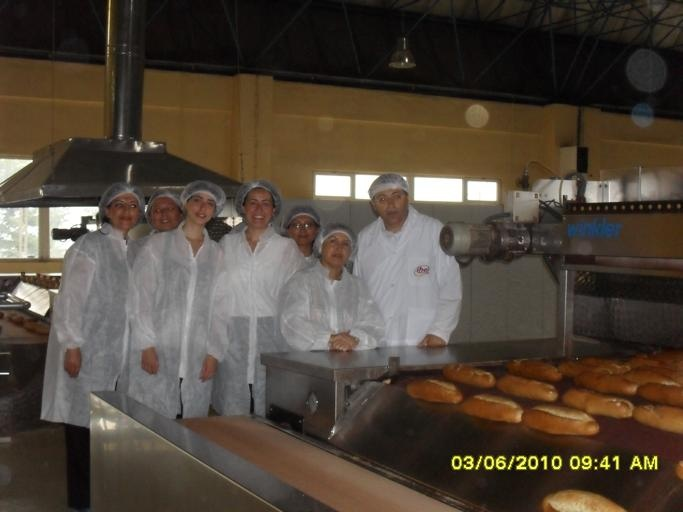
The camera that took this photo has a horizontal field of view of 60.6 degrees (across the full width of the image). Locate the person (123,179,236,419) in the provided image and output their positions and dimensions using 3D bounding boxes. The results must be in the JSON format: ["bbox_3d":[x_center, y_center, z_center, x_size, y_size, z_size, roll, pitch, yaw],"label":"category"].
[{"bbox_3d":[-0.819,0.215,2.920,0.449,1.189,0.225,1,2,-22],"label":"person"}]

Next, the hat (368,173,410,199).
[{"bbox_3d":[0.234,-0.351,2.941,0.211,0.132,0.163,1,2,-13],"label":"hat"}]

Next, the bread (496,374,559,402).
[{"bbox_3d":[0.532,0.376,1.683,0.129,0.038,0.065,5,5,36],"label":"bread"}]

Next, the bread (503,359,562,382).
[{"bbox_3d":[0.610,0.349,1.840,0.116,0.034,0.066,7,-2,0],"label":"bread"}]

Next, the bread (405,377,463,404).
[{"bbox_3d":[0.267,0.374,1.679,0.117,0.030,0.064,4,9,43],"label":"bread"}]

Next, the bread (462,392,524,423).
[{"bbox_3d":[0.404,0.402,1.558,0.099,0.032,0.067,-1,-1,44],"label":"bread"}]

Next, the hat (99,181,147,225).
[{"bbox_3d":[-1.228,-0.300,3.239,0.194,0.098,0.240,1,-42,-16],"label":"hat"}]

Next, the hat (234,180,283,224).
[{"bbox_3d":[-0.438,-0.282,3.184,0.116,0.308,0.335,-15,18,-35],"label":"hat"}]

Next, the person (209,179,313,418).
[{"bbox_3d":[-0.445,0.270,3.020,0.509,1.221,0.425,1,16,-15],"label":"person"}]

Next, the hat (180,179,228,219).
[{"bbox_3d":[-0.739,-0.312,3.074,0.252,0.099,0.264,9,-12,-41],"label":"hat"}]

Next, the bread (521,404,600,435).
[{"bbox_3d":[0.549,0.415,1.474,0.108,0.048,0.168,0,3,-42],"label":"bread"}]

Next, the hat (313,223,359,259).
[{"bbox_3d":[-0.031,-0.066,2.845,0.152,0.201,0.079,2,2,-2],"label":"hat"}]

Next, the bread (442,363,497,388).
[{"bbox_3d":[0.394,0.364,1.799,0.060,0.035,0.119,-5,11,-42],"label":"bread"}]

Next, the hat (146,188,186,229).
[{"bbox_3d":[-1.066,-0.259,3.536,0.212,0.301,0.290,-10,-3,-13],"label":"hat"}]

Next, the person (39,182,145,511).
[{"bbox_3d":[-1.308,0.506,3.057,0.495,1.797,0.512,0,2,-21],"label":"person"}]

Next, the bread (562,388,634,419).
[{"bbox_3d":[0.677,0.380,1.559,0.068,0.041,0.130,1,-1,-40],"label":"bread"}]
